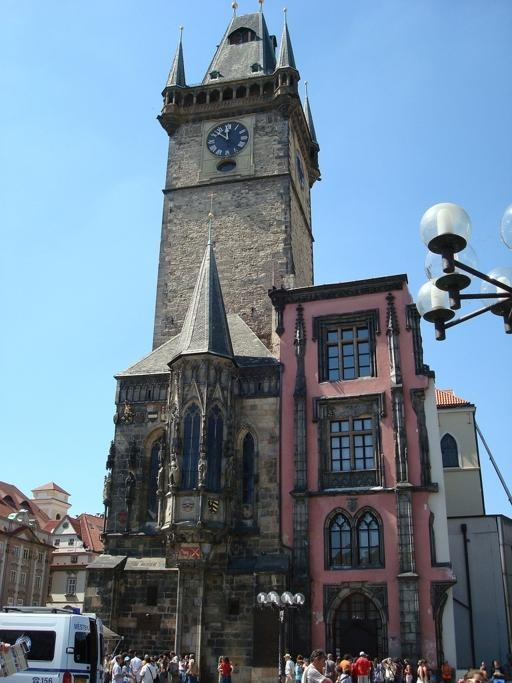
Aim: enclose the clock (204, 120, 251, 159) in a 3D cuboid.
[{"bbox_3d":[-1.466,-10.994,35.022,2.324,2.288,0.176,-11,-27,2],"label":"clock"}]
